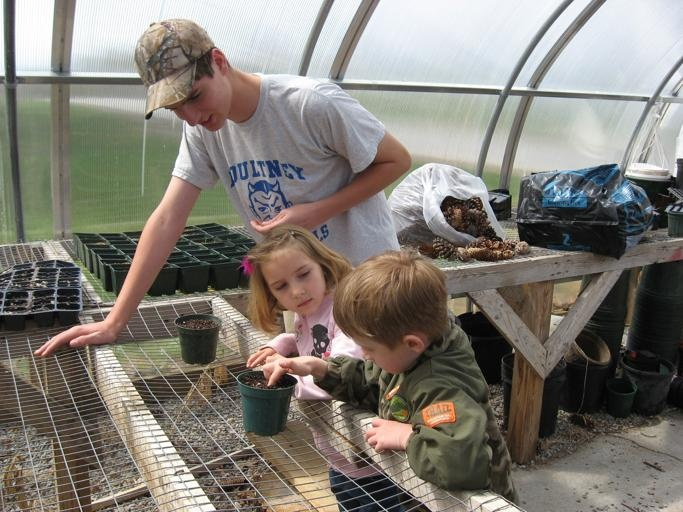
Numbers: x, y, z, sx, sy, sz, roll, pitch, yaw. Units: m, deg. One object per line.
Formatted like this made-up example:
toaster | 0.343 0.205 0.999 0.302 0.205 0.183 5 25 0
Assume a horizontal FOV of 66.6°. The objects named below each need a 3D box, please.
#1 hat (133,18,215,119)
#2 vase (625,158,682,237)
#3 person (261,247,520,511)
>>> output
hat | -0.586 -0.644 1.725 0.237 0.277 0.193 10 18 20
vase | 2.677 -0.489 4.437 0.361 1.008 0.428 -7 -19 28
person | 0.189 0.342 1.505 0.682 0.677 0.406 17 21 38
